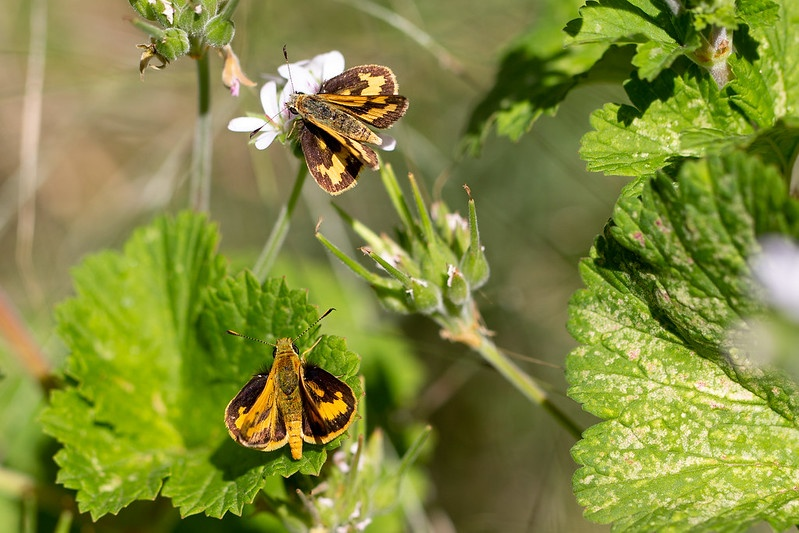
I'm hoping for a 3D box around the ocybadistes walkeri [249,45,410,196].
[{"bbox_3d":[-0.206,-0.478,2.412,0.467,0.447,0.156,-61,0,-8],"label":"ocybadistes walkeri"}]

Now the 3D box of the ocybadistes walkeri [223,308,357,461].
[{"bbox_3d":[-0.343,0.425,2.181,0.396,0.469,0.146,-10,-20,6],"label":"ocybadistes walkeri"}]

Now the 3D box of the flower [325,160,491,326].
[{"bbox_3d":[0.063,-0.048,2.460,0.417,0.455,0.530,-23,11,2],"label":"flower"}]
